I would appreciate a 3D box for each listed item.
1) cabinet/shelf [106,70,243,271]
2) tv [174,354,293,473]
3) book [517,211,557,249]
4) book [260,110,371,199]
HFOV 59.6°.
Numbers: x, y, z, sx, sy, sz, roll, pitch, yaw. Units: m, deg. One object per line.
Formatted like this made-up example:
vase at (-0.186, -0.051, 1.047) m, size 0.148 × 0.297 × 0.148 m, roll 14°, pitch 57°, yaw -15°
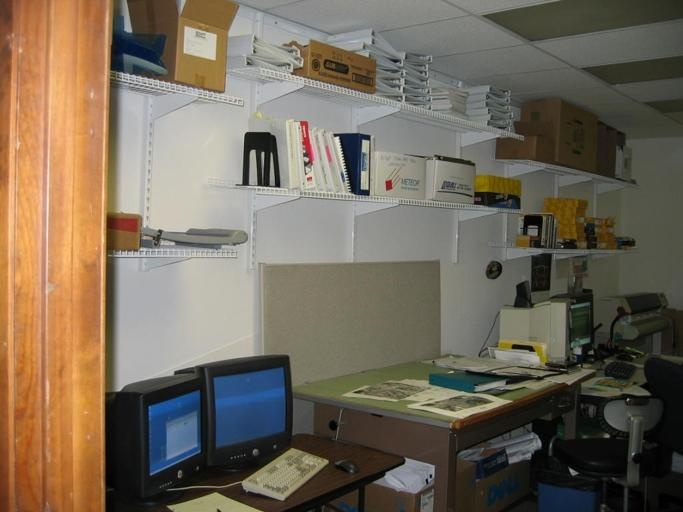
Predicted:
cabinet/shelf at (-0.675, -0.342, 2.350) m, size 0.262 × 0.815 × 0.828 m, roll 2°, pitch 2°, yaw 28°
tv at (-0.386, 0.579, 2.336) m, size 0.361 × 0.407 × 0.408 m, roll 3°, pitch -7°, yaw -45°
book at (1.422, -0.154, 4.370) m, size 0.319 × 0.329 × 0.242 m, roll 0°, pitch -3°, yaw 34°
book at (-0.097, -0.467, 2.746) m, size 0.594 × 0.360 × 0.227 m, roll -4°, pitch 6°, yaw -37°
